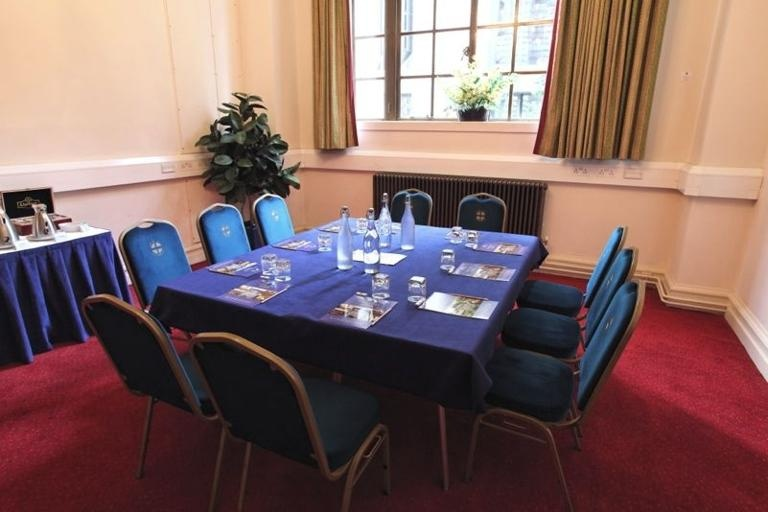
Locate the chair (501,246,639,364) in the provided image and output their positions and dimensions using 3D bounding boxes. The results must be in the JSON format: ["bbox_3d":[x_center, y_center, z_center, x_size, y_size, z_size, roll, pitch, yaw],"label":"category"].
[{"bbox_3d":[1.334,0.368,3.625,0.582,0.937,0.512,14,35,24],"label":"chair"}]

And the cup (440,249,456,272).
[{"bbox_3d":[0.461,0.039,3.611,0.097,0.174,0.094,0,31,0],"label":"cup"}]

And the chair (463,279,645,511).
[{"bbox_3d":[1.027,0.791,3.095,0.808,1.323,0.848,9,25,18],"label":"chair"}]

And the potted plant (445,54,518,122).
[{"bbox_3d":[1.131,-1.912,5.949,0.727,0.776,0.839,8,25,19],"label":"potted plant"}]

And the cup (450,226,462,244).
[{"bbox_3d":[0.594,-0.166,4.120,0.091,0.168,0.092,-2,35,1],"label":"cup"}]

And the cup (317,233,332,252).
[{"bbox_3d":[-0.463,-0.102,3.973,0.100,0.135,0.101,0,27,0],"label":"cup"}]

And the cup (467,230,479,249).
[{"bbox_3d":[0.719,-0.127,4.054,0.096,0.174,0.096,-2,26,1],"label":"cup"}]

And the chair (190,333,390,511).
[{"bbox_3d":[-0.525,0.961,2.885,0.576,0.997,0.660,19,41,15],"label":"chair"}]

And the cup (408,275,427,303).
[{"bbox_3d":[0.215,0.218,3.220,0.099,0.136,0.100,0,26,0],"label":"cup"}]

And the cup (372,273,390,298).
[{"bbox_3d":[-0.018,0.196,3.269,0.094,0.137,0.095,-1,30,0],"label":"cup"}]
